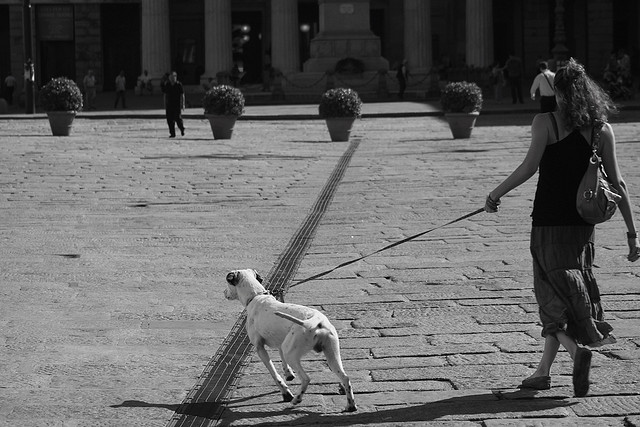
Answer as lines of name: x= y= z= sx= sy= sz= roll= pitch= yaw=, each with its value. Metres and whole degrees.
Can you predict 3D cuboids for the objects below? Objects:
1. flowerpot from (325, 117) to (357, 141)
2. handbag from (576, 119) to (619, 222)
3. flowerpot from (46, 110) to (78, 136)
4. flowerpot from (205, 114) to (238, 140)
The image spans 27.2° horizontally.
flowerpot: x=0.387 y=-1.750 z=27.587 sx=0.655 sy=0.383 sz=0.517 roll=-1 pitch=2 yaw=-3
handbag: x=2.678 y=-0.384 z=12.933 sx=0.425 sy=0.926 sz=0.545 roll=5 pitch=2 yaw=25
flowerpot: x=-5.453 y=-1.939 z=28.247 sx=0.613 sy=0.397 sz=0.616 roll=6 pitch=6 yaw=44
flowerpot: x=-2.083 y=-1.840 z=27.885 sx=0.632 sy=0.537 sz=0.472 roll=-3 pitch=7 yaw=-9
